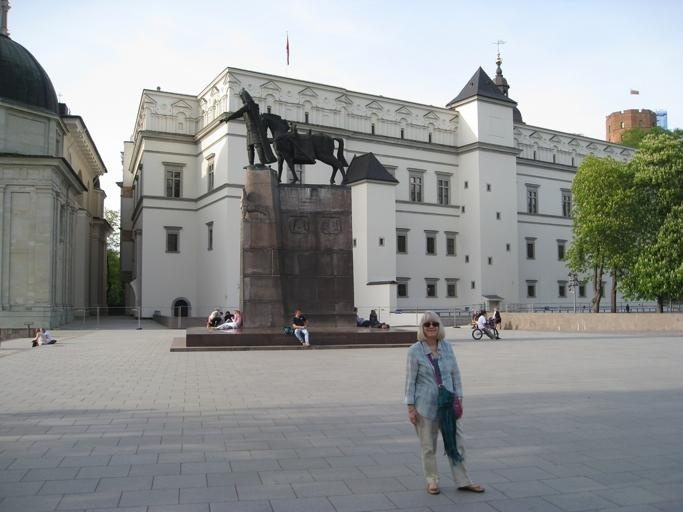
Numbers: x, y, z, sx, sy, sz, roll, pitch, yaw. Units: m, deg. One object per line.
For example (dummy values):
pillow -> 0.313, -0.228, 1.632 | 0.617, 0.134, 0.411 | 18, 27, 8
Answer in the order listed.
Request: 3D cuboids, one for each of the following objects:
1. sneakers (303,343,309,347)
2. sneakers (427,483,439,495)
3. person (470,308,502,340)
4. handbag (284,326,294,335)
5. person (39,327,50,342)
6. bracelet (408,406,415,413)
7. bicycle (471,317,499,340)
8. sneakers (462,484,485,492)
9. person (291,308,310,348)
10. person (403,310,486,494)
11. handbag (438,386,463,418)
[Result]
sneakers -> -1.103, 2.833, 21.901 | 0.174, 0.122, 0.090 | 4, -10, -32
sneakers -> 1.068, 2.691, 7.964 | 0.145, 0.112, 0.115 | 0, -2, 0
person -> 6.223, 3.084, 29.872 | 1.147, 1.141, 1.890 | 1, 1, 29
handbag -> -1.672, 2.399, 21.980 | 0.243, 0.193, 0.340 | -1, 2, -5
person -> -10.720, 2.873, 24.902 | 0.411, 0.592, 0.819 | 0, -6, -14
bracelet -> 0.832, 1.816, 8.148 | 0.069, 0.076, 0.072 | -2, -5, 29
bicycle -> 6.159, 3.156, 29.503 | 1.361, 0.778, 0.685 | 4, -5, -8
sneakers -> 1.523, 2.704, 7.991 | 0.253, 0.079, 0.103 | -2, -3, 8
person -> -1.295, 2.314, 22.171 | 0.554, 1.142, 0.679 | 0, -2, -4
person -> 1.158, 1.708, 8.121 | 0.785, 2.082, 0.385 | 0, -2, 4
handbag -> 1.274, 1.684, 8.033 | 0.281, 0.371, 0.170 | 24, -4, -2
